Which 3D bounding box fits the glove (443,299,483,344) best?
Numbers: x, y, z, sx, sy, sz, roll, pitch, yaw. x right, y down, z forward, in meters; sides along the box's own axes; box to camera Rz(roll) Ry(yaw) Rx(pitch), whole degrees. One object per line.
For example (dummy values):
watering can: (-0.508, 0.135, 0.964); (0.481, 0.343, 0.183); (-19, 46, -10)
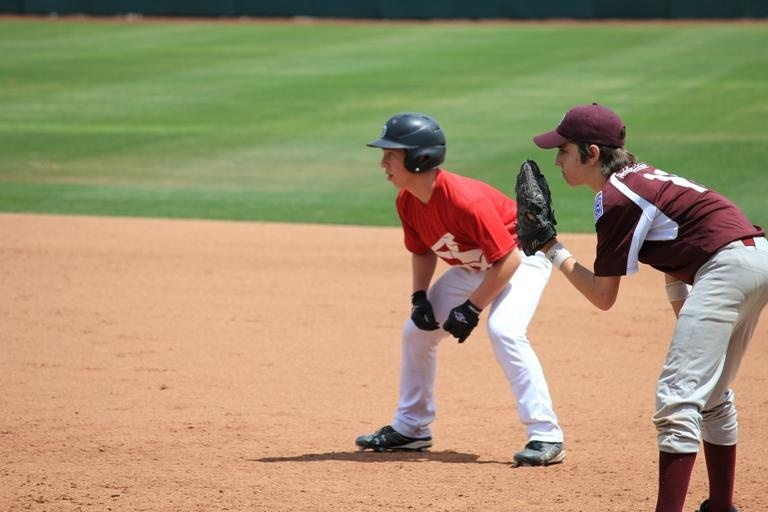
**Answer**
glove: (0.910, 0.758, 16.296); (0.393, 0.488, 0.233); (11, 19, 31)
